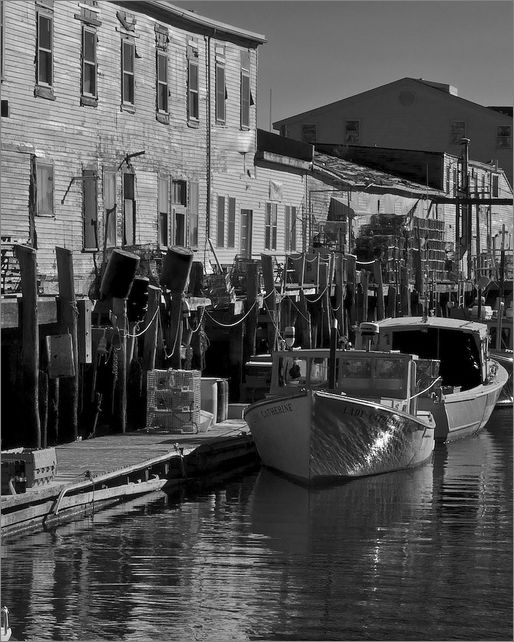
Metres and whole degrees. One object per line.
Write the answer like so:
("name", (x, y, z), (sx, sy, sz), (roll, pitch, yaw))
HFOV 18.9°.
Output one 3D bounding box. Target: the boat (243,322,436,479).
("boat", (1.208, 1.237, 23.580), (2.495, 2.346, 3.601), (1, -1, 14))
